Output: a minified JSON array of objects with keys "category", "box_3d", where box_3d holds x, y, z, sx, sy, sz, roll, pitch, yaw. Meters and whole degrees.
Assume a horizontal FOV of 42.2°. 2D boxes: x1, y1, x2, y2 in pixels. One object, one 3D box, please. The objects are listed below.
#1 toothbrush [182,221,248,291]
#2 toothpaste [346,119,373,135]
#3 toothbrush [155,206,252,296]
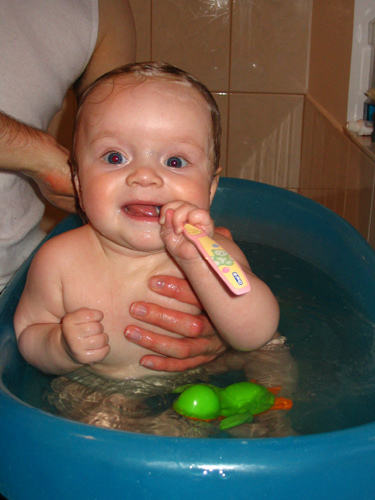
[{"category":"toothbrush","box_3d":[0.032,0.001,0.600,0.011,0.031,0.157,47,3,-42]},{"category":"toothpaste","box_3d":[0.541,-0.380,1.505,0.073,0.034,0.093,3,21,6]},{"category":"toothbrush","box_3d":[0.022,-0.005,0.588,0.040,0.013,0.183,-2,26,-24]}]
